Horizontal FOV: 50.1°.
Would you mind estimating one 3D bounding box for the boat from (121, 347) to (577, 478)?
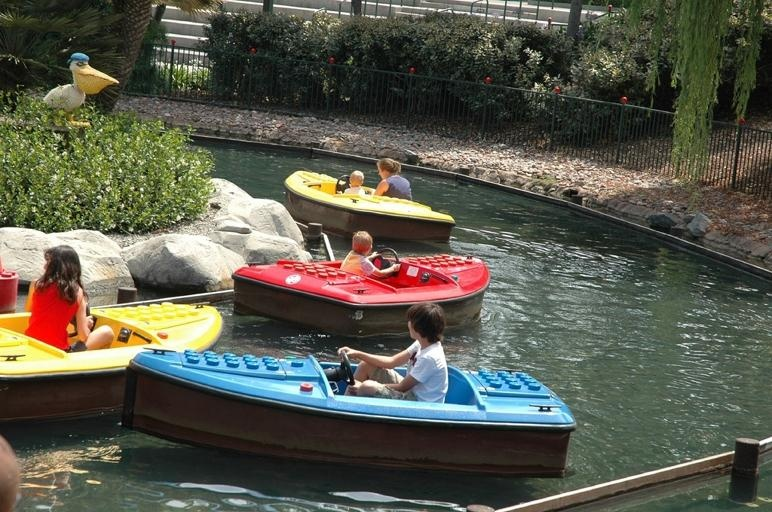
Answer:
[{"bbox_3d":[-0.537,1.679,9.262,5.345,1.177,1.717,6,7,-3],"label":"boat"}]

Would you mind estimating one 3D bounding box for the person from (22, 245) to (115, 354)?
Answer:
[{"bbox_3d":[-3.920,0.563,10.041,0.966,1.060,0.918,21,22,17],"label":"person"}]

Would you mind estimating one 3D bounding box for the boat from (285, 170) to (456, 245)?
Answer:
[{"bbox_3d":[-0.470,-0.892,16.187,3.366,0.996,1.379,9,10,28],"label":"boat"}]

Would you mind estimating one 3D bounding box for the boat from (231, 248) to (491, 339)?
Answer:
[{"bbox_3d":[-0.073,0.540,11.755,2.653,0.557,1.581,-2,8,-33],"label":"boat"}]

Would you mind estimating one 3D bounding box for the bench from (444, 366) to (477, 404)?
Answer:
[{"bbox_3d":[0.860,1.457,9.262,0.348,0.367,0.157,7,6,22],"label":"bench"}]
